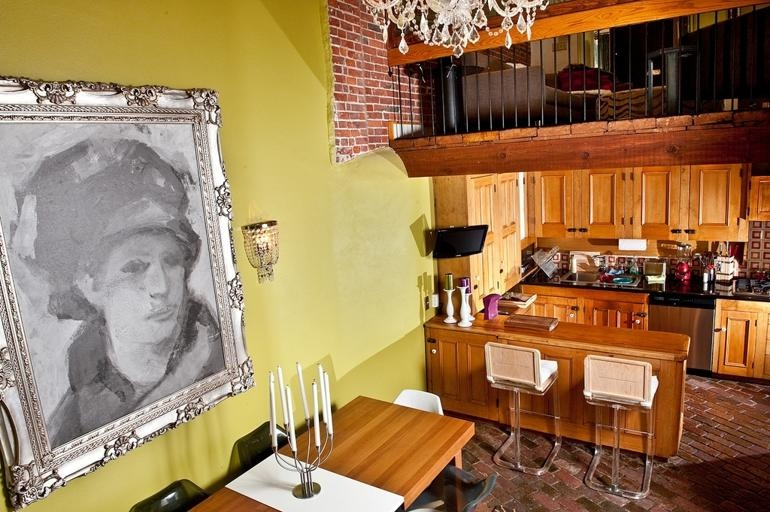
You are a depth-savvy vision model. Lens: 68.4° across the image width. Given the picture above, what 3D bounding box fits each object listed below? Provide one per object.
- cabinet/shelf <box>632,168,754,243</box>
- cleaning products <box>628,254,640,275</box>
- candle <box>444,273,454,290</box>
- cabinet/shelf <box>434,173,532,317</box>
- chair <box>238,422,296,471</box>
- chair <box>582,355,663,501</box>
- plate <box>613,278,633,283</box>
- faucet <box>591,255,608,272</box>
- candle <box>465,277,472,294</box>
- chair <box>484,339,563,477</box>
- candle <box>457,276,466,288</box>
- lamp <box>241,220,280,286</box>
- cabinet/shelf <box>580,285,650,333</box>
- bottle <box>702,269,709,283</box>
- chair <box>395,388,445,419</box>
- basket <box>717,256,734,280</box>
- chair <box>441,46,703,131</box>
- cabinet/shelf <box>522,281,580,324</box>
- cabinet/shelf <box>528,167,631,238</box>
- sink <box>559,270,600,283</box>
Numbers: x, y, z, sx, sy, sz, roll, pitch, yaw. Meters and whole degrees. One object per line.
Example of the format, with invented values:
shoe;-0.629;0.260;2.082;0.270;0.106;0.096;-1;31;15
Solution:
cabinet/shelf;3.818;-0.679;7.311;1.325;0.956;0.720;1;1;12
cleaning products;3.367;0.115;7.636;0.122;0.236;0.132;0;10;22
candle;0.741;0.291;6.511;0.109;0.175;0.220;-3;9;4
cabinet/shelf;1.208;-0.296;7.064;0.547;1.532;1.685;2;9;33
chair;-1.040;1.504;4.771;0.386;0.482;0.392;-11;4;-42
chair;2.269;1.545;5.443;0.648;1.316;0.658;1;11;26
plate;3.108;0.323;7.374;0.220;0.042;0.240;0;9;22
faucet;3.005;0.101;7.839;0.204;0.272;0.167;2;7;34
candle;0.959;0.332;6.455;0.046;0.180;0.172;-2;9;14
chair;1.431;1.469;5.818;0.675;1.302;0.653;1;10;25
candle;0.889;0.302;6.451;0.094;0.101;0.096;1;3;28
lamp;-1.022;-0.033;4.678;0.281;0.461;0.295;-7;5;28
cabinet/shelf;3.044;0.561;7.408;0.735;0.733;0.512;2;4;31
bottle;4.077;0.259;7.161;0.116;0.167;0.076;-12;13;-42
chair;0.331;1.328;5.282;0.285;0.375;0.286;1;1;23
basket;4.324;0.153;7.165;0.193;0.305;0.102;1;11;28
chair;1.754;-1.742;5.826;2.436;0.881;1.848;1;10;27
cabinet/shelf;2.232;0.614;7.581;0.691;0.647;0.479;3;7;31
cabinet/shelf;2.651;-0.808;7.704;1.256;1.100;0.650;2;19;25
sink;2.685;0.293;7.776;0.308;0.122;0.256;5;16;29
